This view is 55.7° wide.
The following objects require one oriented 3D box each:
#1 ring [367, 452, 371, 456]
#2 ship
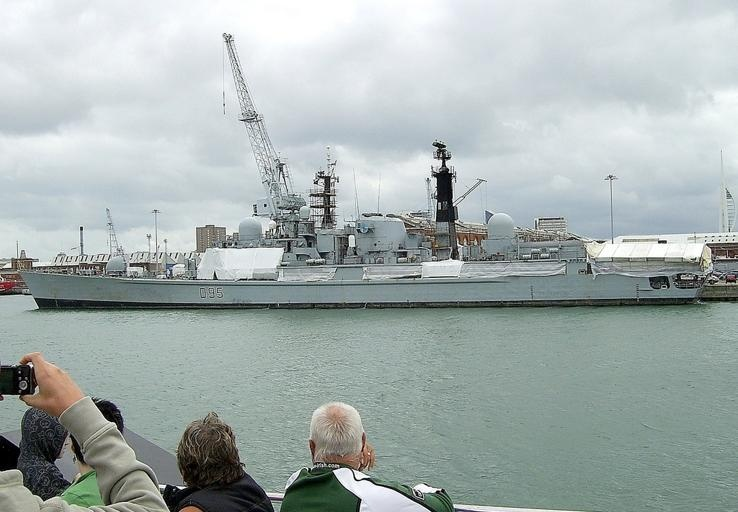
[{"bbox_3d":[0.012,1.889,6.729,0.031,0.022,0.008,2,1,-21],"label":"ring"},{"bbox_3d":[-0.108,-3.604,36.805,37.663,11.733,6.467,-1,10,5],"label":"ship"}]
